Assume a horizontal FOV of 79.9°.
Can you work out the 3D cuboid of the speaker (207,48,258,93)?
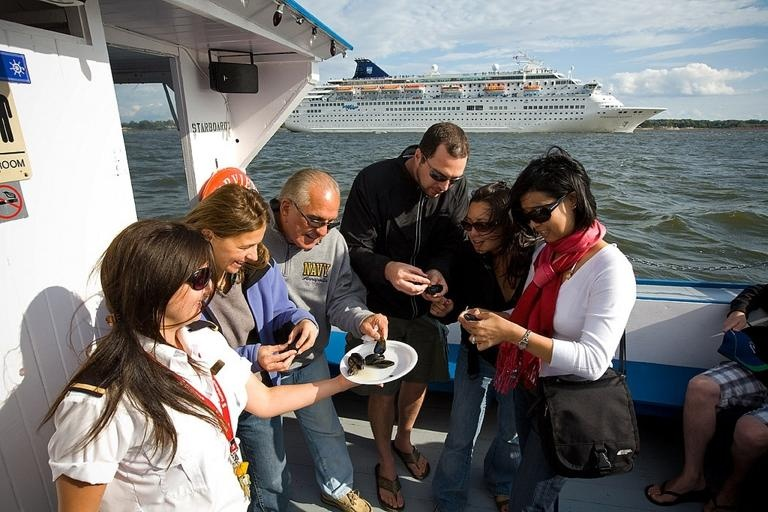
[{"bbox_3d":[-1.630,-2.013,4.946,0.507,0.434,0.168,-16,26,-41],"label":"speaker"}]

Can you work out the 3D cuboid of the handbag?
[{"bbox_3d":[1.227,0.875,2.725,0.693,0.675,0.391,-2,-4,21],"label":"handbag"}]

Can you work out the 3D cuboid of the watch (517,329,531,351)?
[{"bbox_3d":[0.815,0.494,2.662,0.067,0.106,0.107,24,58,27],"label":"watch"}]

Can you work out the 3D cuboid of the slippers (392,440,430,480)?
[{"bbox_3d":[0.274,1.695,3.855,0.183,0.099,0.424,-28,11,-14],"label":"slippers"}]

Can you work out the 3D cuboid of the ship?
[{"bbox_3d":[7.769,-15.965,45.781,35.699,9.267,7.884,5,8,17],"label":"ship"}]
